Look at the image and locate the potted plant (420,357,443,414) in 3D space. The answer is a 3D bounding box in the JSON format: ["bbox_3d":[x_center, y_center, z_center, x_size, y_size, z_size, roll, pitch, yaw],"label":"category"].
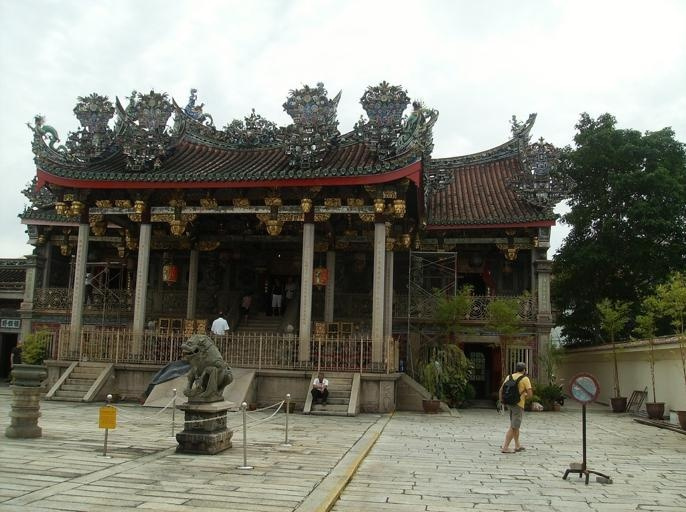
[{"bbox_3d":[3.054,4.607,20.978,0.798,1.840,0.715,3,-31,-6],"label":"potted plant"}]

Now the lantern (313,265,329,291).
[{"bbox_3d":[-0.816,0.762,21.912,0.730,0.947,0.707,1,-9,-1],"label":"lantern"}]

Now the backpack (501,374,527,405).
[{"bbox_3d":[3.977,3.048,13.583,0.603,0.581,0.411,12,-17,-32],"label":"backpack"}]

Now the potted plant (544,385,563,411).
[{"bbox_3d":[7.870,5.416,22.945,0.944,0.978,0.764,1,-14,-2],"label":"potted plant"}]

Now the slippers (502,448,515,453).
[{"bbox_3d":[3.688,4.385,13.582,0.232,0.073,0.132,-4,-6,32],"label":"slippers"}]

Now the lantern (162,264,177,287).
[{"bbox_3d":[-6.585,0.616,22.957,0.447,0.692,0.819,2,-8,-12],"label":"lantern"}]

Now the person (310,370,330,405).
[{"bbox_3d":[-0.699,4.008,18.265,0.531,0.938,0.263,1,-8,-4],"label":"person"}]
